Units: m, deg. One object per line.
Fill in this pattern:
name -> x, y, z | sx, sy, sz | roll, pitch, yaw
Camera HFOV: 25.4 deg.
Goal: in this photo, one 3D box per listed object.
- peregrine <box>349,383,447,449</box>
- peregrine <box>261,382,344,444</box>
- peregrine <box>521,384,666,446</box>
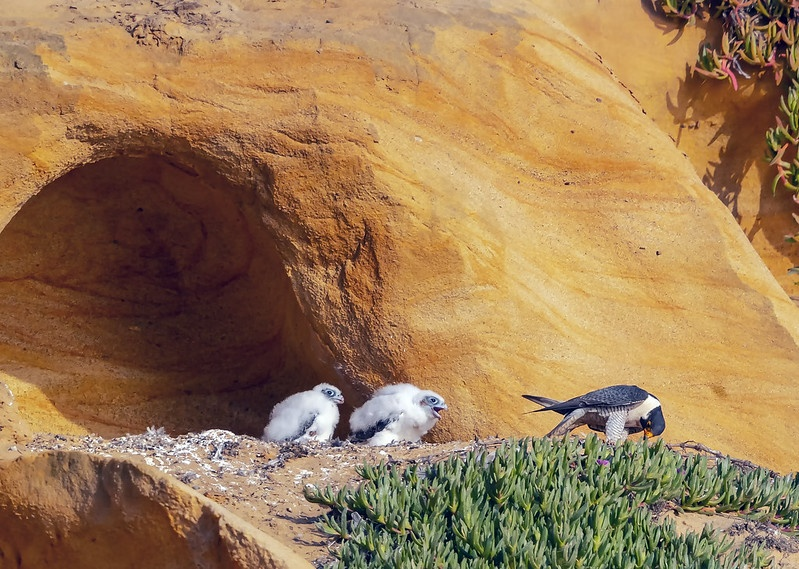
peregrine -> -0.098, 1.792, 24.106 | 1.055, 0.826, 0.870 | -16, 46, -35
peregrine -> -1.222, 1.811, 24.575 | 1.152, 1.022, 0.871 | 10, 8, 33
peregrine -> 2.577, 1.468, 23.043 | 1.854, 0.766, 0.604 | -2, 37, 19
